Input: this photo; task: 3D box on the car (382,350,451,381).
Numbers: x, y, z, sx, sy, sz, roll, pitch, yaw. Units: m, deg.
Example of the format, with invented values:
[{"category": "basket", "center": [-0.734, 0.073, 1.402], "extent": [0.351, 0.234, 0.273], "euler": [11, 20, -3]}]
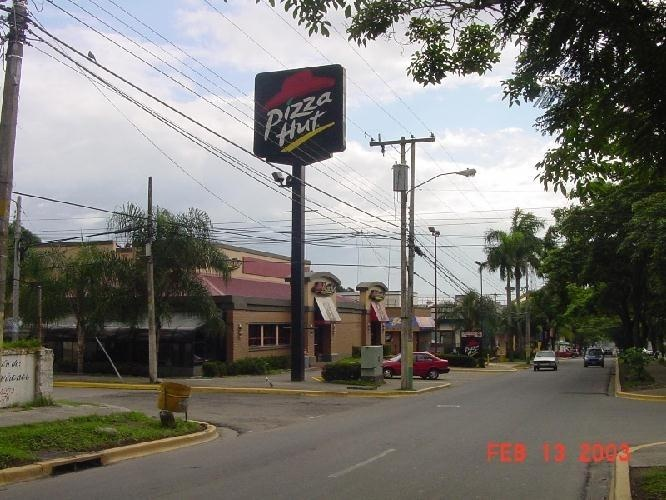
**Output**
[{"category": "car", "center": [4.701, 6.408, 40.751], "extent": [3.468, 1.273, 1.658], "euler": [4, -8, -8]}]
